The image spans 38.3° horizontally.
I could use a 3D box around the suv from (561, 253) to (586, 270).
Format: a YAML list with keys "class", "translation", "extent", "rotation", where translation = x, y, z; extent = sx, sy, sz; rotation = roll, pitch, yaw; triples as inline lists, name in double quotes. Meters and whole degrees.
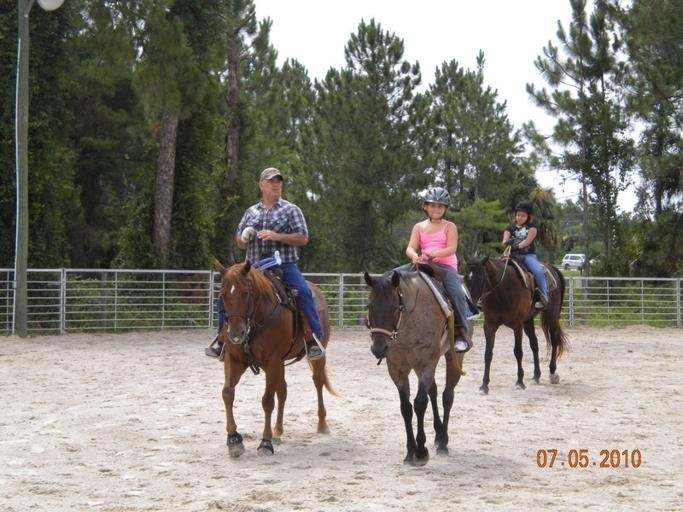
- class: "suv"
  translation: [19.228, 0.525, 81.281]
  extent: [1.160, 1.098, 2.159]
  rotation: [0, -7, -32]

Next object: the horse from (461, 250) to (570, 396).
- class: "horse"
  translation: [4.652, 1.726, 25.629]
  extent: [1.192, 3.703, 5.052]
  rotation: [-2, -1, 39]

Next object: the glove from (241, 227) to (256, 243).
- class: "glove"
  translation: [-2.004, -0.438, 21.186]
  extent: [0.303, 0.369, 0.246]
  rotation: [0, 10, -6]

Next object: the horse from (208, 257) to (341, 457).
- class: "horse"
  translation: [-1.373, 2.340, 22.115]
  extent: [1.330, 4.291, 5.379]
  rotation: [0, -2, 19]

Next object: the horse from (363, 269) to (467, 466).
- class: "horse"
  translation: [1.532, 2.285, 20.592]
  extent: [2.146, 3.914, 1.133]
  rotation: [-3, 11, -26]

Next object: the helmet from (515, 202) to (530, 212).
- class: "helmet"
  translation: [4.705, -1.246, 25.299]
  extent: [0.223, 0.313, 0.332]
  rotation: [7, 11, 13]
